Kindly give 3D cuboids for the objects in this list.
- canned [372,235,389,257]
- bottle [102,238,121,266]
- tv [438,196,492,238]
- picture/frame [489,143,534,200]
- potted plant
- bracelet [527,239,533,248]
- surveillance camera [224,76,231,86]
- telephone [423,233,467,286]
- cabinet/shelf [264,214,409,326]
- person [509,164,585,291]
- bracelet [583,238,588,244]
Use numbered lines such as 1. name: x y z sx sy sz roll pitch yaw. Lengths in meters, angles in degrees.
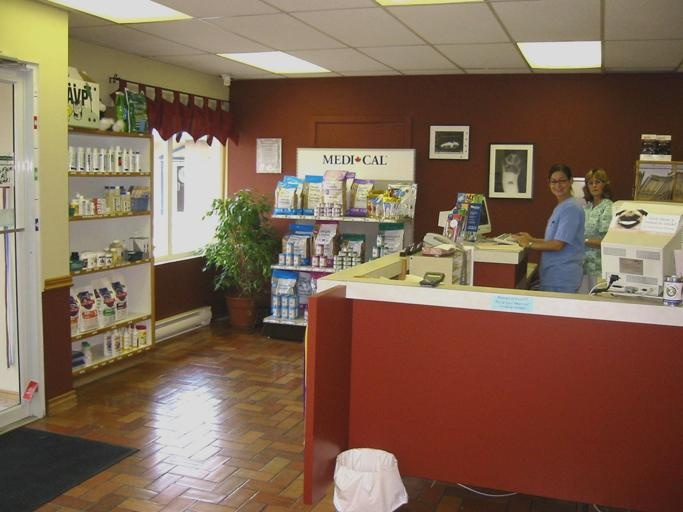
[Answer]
1. canned: 0.483 -0.120 6.716 0.177 0.289 0.125 -4 10 -30
2. bottle: -2.377 -0.024 5.741 0.139 0.212 0.311 1 9 -3
3. tv: 1.125 -0.410 5.031 0.428 0.458 0.635 0 4 17
4. picture/frame: 2.107 -1.070 6.777 0.644 0.872 0.061 1 3 14
5. potted plant: -1.429 0.114 7.563 0.966 1.730 0.954 0 -2 -16
6. bracelet: 1.646 -0.110 4.815 0.040 0.057 0.021 -1 -13 -27
7. surveillance camera: -1.556 -2.401 7.514 0.090 0.087 0.151 -1 -22 -7
8. telephone: 0.803 0.039 3.946 0.419 0.407 0.199 -9 2 -43
9. cabinet/shelf: -0.205 0.326 7.043 0.717 1.780 1.960 20 -11 -34
10. person: 1.859 -0.233 4.855 0.539 1.133 0.402 5 9 22
11. bracelet: 2.342 -0.139 5.293 0.045 0.047 0.049 7 -13 1
